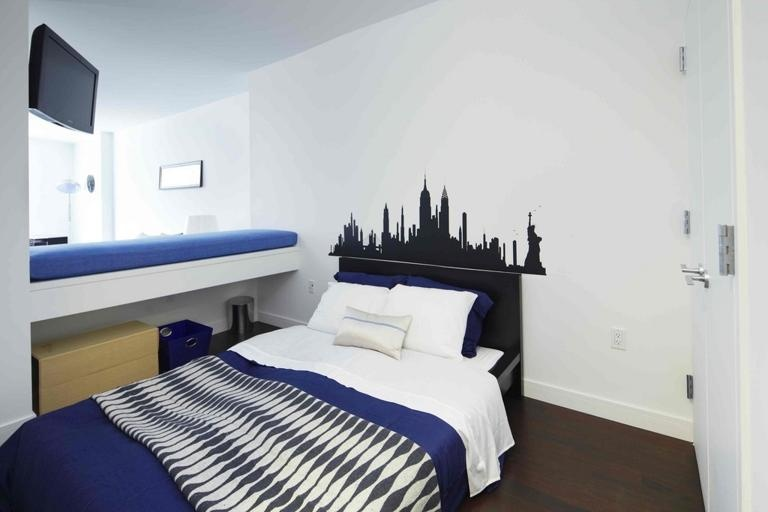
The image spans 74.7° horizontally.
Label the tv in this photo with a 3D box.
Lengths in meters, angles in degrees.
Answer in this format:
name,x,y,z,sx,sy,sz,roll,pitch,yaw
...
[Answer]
name,x,y,z,sx,sy,sz,roll,pitch,yaw
tv,-2.456,-1.344,3.877,0.247,0.659,0.649,2,4,-6
